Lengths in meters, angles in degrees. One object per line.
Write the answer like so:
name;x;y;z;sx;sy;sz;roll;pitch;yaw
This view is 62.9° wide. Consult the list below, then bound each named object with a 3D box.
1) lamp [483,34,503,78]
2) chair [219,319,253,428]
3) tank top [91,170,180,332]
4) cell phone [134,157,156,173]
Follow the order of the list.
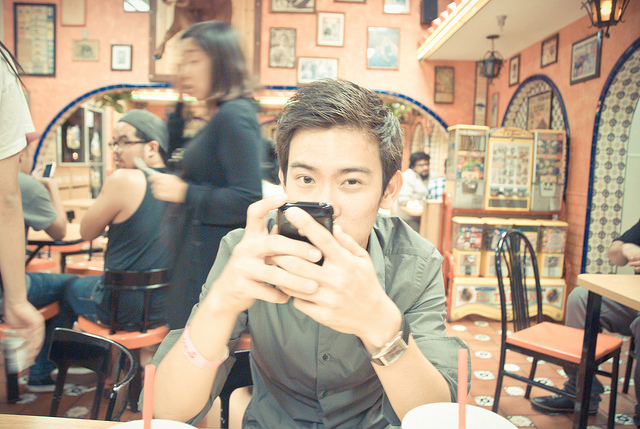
lamp;2.620;-2.312;7.876;0.275;0.573;0.762;4;3;17
chair;-0.528;1.067;3.475;0.246;0.777;0.136;6;5;38
tank top;-1.562;0.312;4.453;0.731;1.357;0.200;3;4;0
cell phone;-1.449;-0.414;4.347;0.254;0.064;0.071;37;9;27
